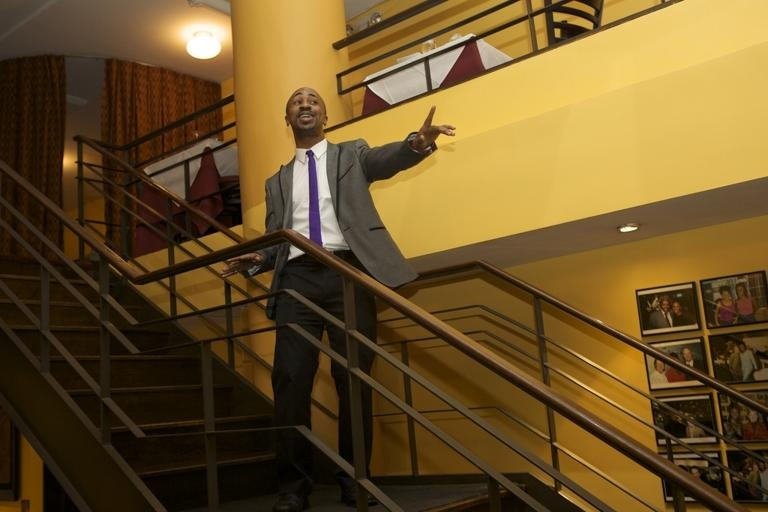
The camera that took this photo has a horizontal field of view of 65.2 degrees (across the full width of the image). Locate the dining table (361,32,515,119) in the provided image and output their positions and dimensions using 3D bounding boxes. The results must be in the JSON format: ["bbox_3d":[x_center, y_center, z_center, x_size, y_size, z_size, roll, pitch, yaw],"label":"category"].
[{"bbox_3d":[0.341,-1.135,3.745,0.681,0.689,0.286,0,-57,54],"label":"dining table"}]

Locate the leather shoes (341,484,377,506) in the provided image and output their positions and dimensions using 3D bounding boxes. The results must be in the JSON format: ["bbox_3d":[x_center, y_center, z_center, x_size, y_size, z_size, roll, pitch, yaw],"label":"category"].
[{"bbox_3d":[-0.125,1.021,2.561,0.173,0.085,0.090,-8,-24,18],"label":"leather shoes"}]

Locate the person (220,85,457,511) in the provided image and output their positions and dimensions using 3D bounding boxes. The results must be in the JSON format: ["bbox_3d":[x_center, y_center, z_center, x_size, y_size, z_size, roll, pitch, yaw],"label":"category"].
[{"bbox_3d":[-0.247,0.089,2.703,0.922,1.950,0.623,-2,-23,4],"label":"person"}]
